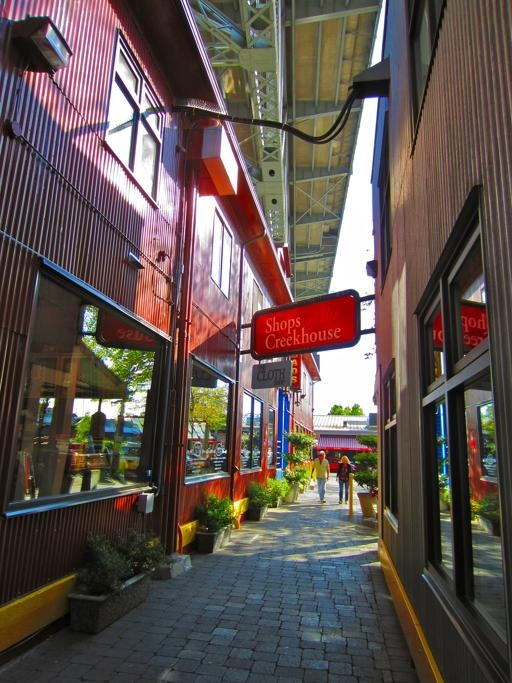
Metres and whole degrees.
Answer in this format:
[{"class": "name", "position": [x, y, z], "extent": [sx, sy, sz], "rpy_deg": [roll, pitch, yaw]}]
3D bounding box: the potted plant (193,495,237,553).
[{"class": "potted plant", "position": [-0.751, 3.122, 7.542], "extent": [0.387, 0.867, 0.966], "rpy_deg": [-5, -16, 19]}]

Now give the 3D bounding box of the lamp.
[{"class": "lamp", "position": [-1.544, -2.067, 3.109], "extent": [0.297, 0.264, 0.406], "rpy_deg": [0, -16, 1]}]

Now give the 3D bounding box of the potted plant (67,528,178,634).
[{"class": "potted plant", "position": [-1.166, 2.232, 4.271], "extent": [0.873, 0.606, 0.399], "rpy_deg": [-28, -8, 3]}]
